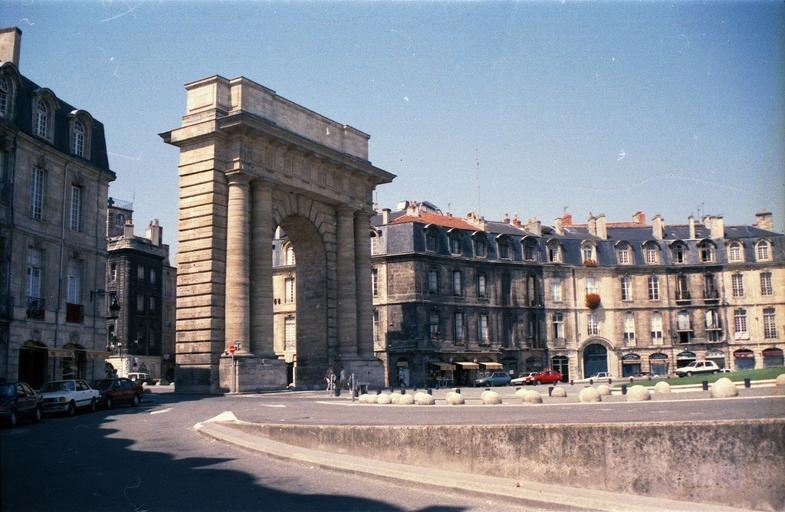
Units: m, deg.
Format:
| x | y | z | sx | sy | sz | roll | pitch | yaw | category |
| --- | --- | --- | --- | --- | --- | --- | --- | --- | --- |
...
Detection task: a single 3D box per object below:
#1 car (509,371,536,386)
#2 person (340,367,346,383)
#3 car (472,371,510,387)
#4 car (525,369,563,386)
| x | y | z | sx | sy | sz | roll | pitch | yaw | category |
| --- | --- | --- | --- | --- | --- | --- | --- | --- | --- |
| 11.147 | 10.652 | 77.338 | 2.243 | 0.932 | 1.652 | 5 | -15 | -31 | car |
| -3.435 | 8.208 | 62.038 | 0.449 | 1.022 | 1.206 | -2 | -13 | -4 | person |
| 8.736 | 10.547 | 76.581 | 2.822 | 0.895 | 1.308 | 6 | -13 | -27 | car |
| 13.074 | 10.609 | 78.217 | 3.119 | 0.953 | 1.536 | 7 | -14 | -31 | car |
